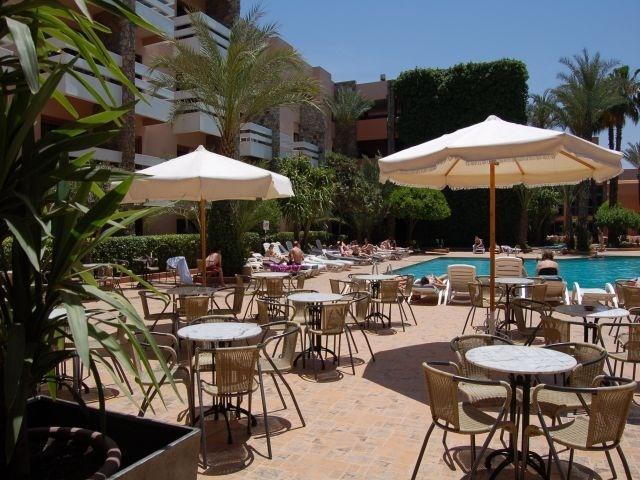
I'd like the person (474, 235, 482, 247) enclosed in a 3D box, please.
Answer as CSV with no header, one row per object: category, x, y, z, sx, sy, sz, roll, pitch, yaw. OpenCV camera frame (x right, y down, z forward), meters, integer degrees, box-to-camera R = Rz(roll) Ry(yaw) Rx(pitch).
person,9.794,0.080,35.128,0.265,0.844,0.782,-6,10,3

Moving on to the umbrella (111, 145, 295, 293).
umbrella,-1.609,-0.519,8.121,2.089,1.716,2.133,-1,0,-1
